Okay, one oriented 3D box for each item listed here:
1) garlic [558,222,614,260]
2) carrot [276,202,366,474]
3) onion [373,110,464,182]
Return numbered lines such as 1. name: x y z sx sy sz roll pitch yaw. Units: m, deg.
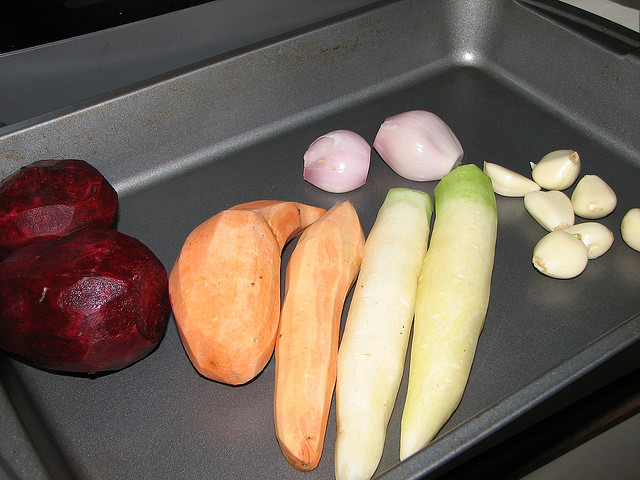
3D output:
1. garlic: 0.397 -0.001 0.843 0.064 0.053 0.074 3 25 25
2. carrot: 0.004 0.125 0.749 0.081 0.080 0.342 9 65 -4
3. onion: 0.158 -0.154 0.929 0.143 0.098 0.130 22 48 15
